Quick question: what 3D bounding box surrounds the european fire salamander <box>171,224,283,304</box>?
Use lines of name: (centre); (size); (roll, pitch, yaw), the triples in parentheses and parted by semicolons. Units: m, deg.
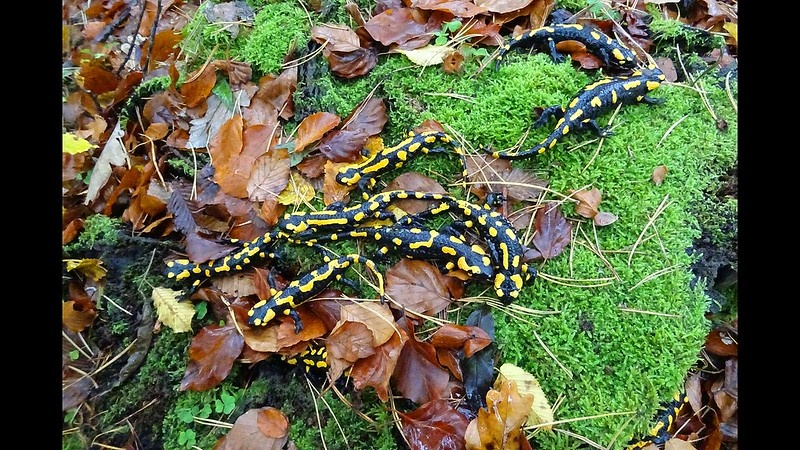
european fire salamander: (-1.679, 0.263, 5.796); (0.303, 0.627, 1.255); (47, -8, 6)
